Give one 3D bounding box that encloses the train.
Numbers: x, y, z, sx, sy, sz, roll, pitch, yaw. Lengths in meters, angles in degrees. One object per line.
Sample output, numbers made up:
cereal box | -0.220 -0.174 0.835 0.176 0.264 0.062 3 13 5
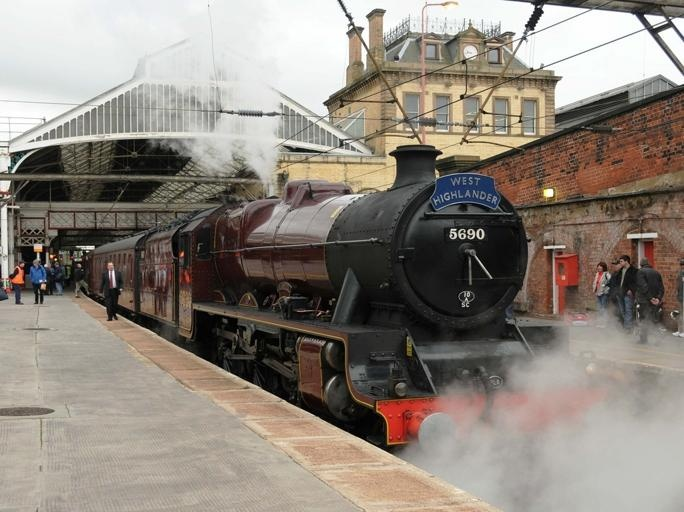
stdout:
train | -1.222 0.318 12.239 2.782 3.235 12.345 0 2 -22
